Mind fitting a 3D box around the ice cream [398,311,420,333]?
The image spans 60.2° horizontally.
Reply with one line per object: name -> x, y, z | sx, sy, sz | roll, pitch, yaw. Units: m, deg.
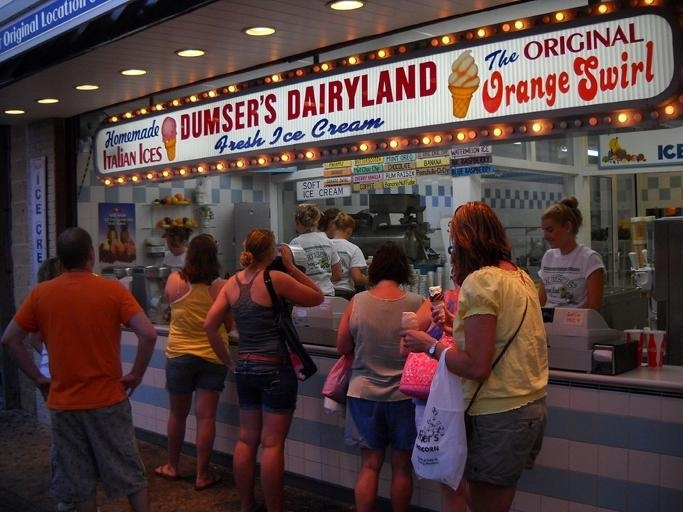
ice cream -> 0.320, 0.308, 2.811 | 0.104, 0.102, 0.104 | -2, -2, -5

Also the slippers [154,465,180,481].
slippers -> -1.427, 1.748, 4.821 | 0.099, 0.080, 0.199 | 7, 0, -40

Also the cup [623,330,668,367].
cup -> 1.864, 0.545, 3.623 | 0.236, 0.195, 0.235 | 0, -4, 0

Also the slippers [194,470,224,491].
slippers -> -1.044, 1.745, 4.607 | 0.084, 0.083, 0.196 | 3, 9, 38

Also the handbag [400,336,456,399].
handbag -> 0.444, 0.581, 3.040 | 0.189, 0.349, 0.218 | -4, 10, -42
